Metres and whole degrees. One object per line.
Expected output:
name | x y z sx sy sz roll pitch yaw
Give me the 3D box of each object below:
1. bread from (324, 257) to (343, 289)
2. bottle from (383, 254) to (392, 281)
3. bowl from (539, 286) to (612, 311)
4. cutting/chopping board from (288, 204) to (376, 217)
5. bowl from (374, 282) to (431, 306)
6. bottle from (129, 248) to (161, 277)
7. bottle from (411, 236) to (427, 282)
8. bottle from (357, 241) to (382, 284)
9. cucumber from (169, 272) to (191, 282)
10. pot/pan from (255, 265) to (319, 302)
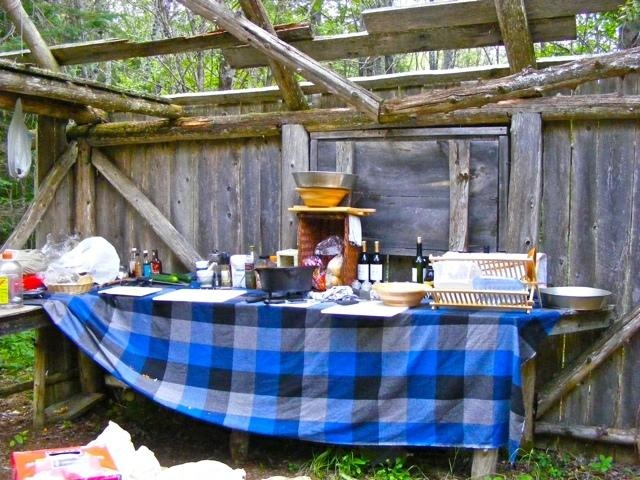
bread | 0.097 0.233 4.032 0.103 0.193 0.167 15 -16 -18
bottle | 0.491 0.207 4.388 0.047 0.192 0.053 -5 12 -24
bowl | 1.559 0.321 3.651 0.361 0.142 0.370 1 3 0
cutting/chopping board | 0.080 -0.186 4.080 0.584 0.081 0.208 0 10 0
bowl | 0.497 0.339 3.651 0.345 0.136 0.197 2 10 8
bottle | -1.365 0.183 4.700 0.224 0.207 0.079 1 3 22
bottle | 0.687 0.120 4.107 0.094 0.293 0.299 2 11 10
bottle | 0.355 0.140 4.165 0.179 0.283 0.453 1 10 6
cucumber | -1.014 0.281 4.339 0.144 0.047 0.070 4 31 -11
pot/pan | -0.208 0.268 3.787 0.306 0.183 0.240 0 -2 -9
